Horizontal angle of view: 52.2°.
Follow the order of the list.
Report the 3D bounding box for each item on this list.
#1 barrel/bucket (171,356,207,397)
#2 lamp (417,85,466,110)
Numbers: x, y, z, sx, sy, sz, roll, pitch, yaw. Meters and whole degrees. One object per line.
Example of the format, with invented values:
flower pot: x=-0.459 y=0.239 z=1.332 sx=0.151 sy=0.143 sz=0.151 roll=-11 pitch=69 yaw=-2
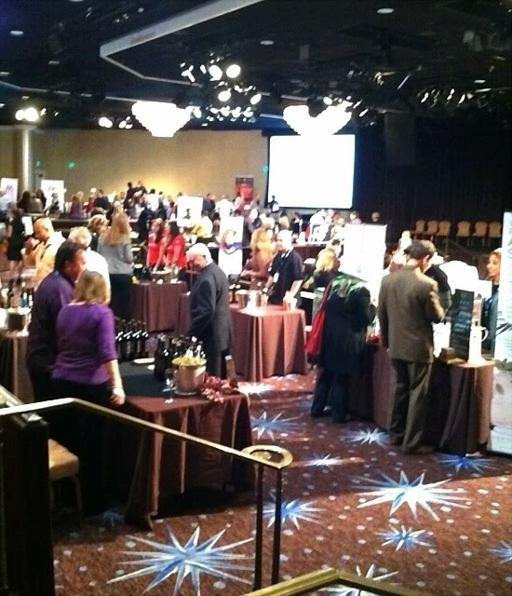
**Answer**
barrel/bucket: x=-0.366 y=0.435 z=2.924 sx=0.150 sy=0.185 sz=0.183 roll=0 pitch=-1 yaw=-21
lamp: x=3.365 y=-3.580 z=9.442 sx=0.904 sy=0.318 sz=0.392 roll=6 pitch=7 yaw=23
